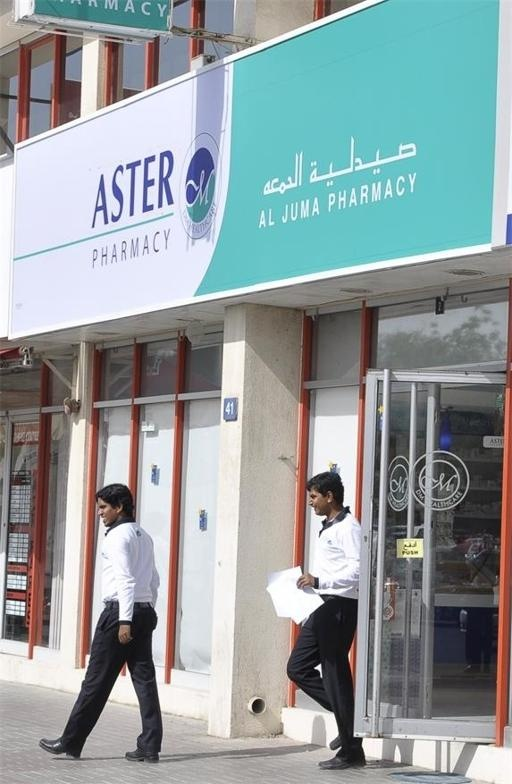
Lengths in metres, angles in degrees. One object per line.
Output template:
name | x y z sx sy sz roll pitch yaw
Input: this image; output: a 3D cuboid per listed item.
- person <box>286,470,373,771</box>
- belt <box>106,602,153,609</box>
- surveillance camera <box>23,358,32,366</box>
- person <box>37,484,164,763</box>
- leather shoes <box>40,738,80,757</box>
person | 0.437 1.374 7.624 0.459 1.758 0.393 1 -6 3
belt | -0.772 1.292 7.588 0.284 0.058 0.139 4 -8 -10
surveillance camera | -2.304 -0.295 12.641 0.105 0.065 0.211 4 -8 -13
person | -0.877 1.397 7.660 0.616 1.683 0.482 0 -7 15
leather shoes | -1.195 2.174 7.683 0.199 0.132 0.085 21 -5 4
